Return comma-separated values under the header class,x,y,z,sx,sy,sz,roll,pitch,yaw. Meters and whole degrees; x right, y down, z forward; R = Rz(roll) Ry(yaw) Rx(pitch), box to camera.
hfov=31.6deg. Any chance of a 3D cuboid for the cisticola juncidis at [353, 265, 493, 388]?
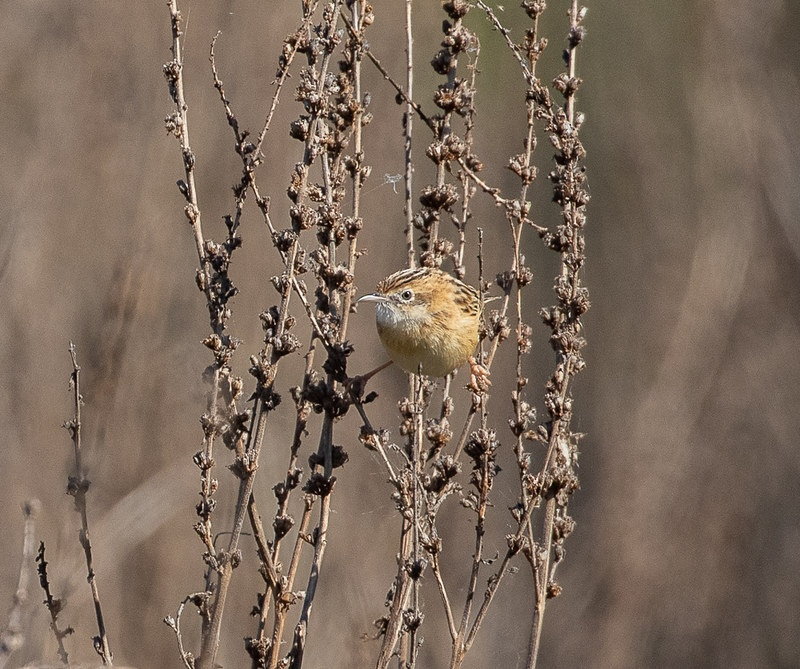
class,x,y,z,sx,sy,sz,roll,pitch,yaw
cisticola juncidis,0.115,-0.033,6.175,0.364,0.583,0.350,0,91,24
